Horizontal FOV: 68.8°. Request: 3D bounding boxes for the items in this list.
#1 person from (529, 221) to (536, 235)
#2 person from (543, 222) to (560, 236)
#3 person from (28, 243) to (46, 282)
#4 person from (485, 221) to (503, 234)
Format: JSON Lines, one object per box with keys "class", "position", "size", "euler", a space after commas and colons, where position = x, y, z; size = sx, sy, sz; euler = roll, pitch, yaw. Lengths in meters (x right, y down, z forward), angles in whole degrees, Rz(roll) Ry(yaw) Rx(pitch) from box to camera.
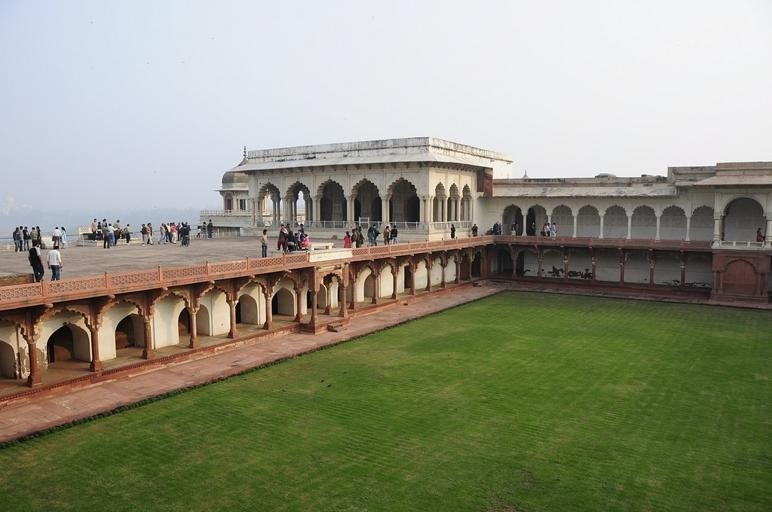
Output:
{"class": "person", "position": [10.578, -2.010, 41.097], "size": [0.446, 0.821, 0.932], "euler": [3, 13, 12]}
{"class": "person", "position": [10.791, -1.686, 37.343], "size": [0.834, 0.773, 1.522], "euler": [0, 13, 1]}
{"class": "person", "position": [-11.892, 0.247, 19.156], "size": [0.330, 1.237, 1.204], "euler": [-9, 15, -34]}
{"class": "person", "position": [7.361, -2.022, 39.790], "size": [0.714, 0.996, 1.564], "euler": [3, -1, 9]}
